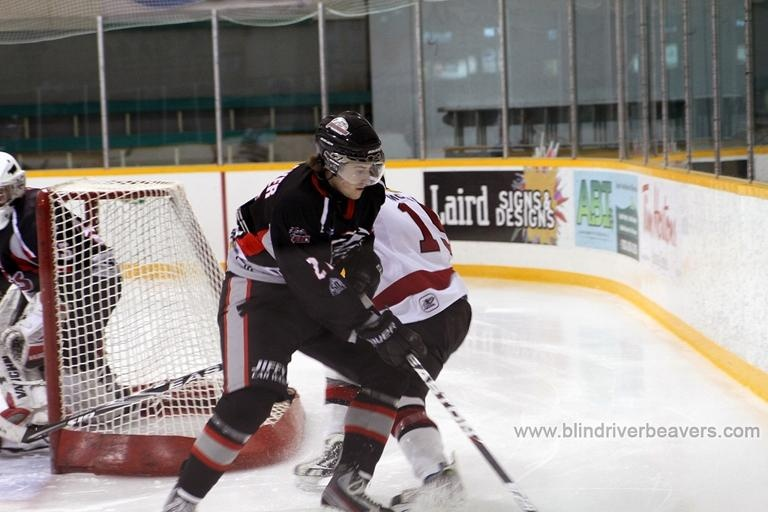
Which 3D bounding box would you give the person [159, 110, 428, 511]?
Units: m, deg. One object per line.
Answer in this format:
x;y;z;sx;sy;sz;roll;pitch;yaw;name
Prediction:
-0.424;0.230;3.591;1.073;1.677;0.536;-5;14;-15;person
